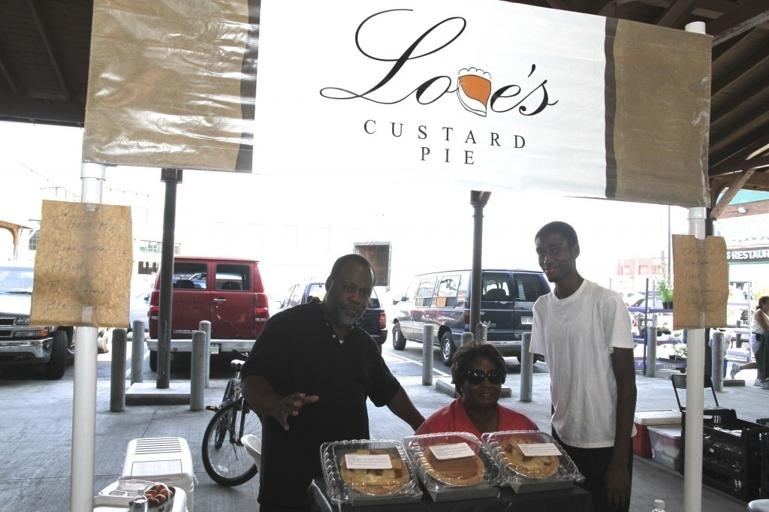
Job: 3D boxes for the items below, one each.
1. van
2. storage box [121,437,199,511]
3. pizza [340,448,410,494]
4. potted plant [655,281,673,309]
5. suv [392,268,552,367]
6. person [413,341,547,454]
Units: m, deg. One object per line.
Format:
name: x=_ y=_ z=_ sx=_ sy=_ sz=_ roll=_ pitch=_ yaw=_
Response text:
van: x=-4.170 y=1.043 z=13.754 sx=2.340 sy=2.362 sz=4.133 roll=3 pitch=1 yaw=-25
storage box: x=-1.786 y=1.948 z=4.991 sx=0.525 sy=0.623 sz=0.842 roll=3 pitch=-4 yaw=-17
pizza: x=-0.070 y=1.337 z=3.763 sx=0.480 sy=0.134 sz=0.568 roll=2 pitch=13 yaw=-1
potted plant: x=6.218 y=0.853 z=13.659 sx=0.213 sy=0.678 sz=0.999 roll=-2 pitch=-5 yaw=21
suv: x=1.904 y=1.265 z=15.006 sx=1.710 sy=1.507 sz=3.607 roll=2 pitch=1 yaw=-20
person: x=0.717 y=1.070 z=4.621 sx=0.966 sy=0.783 sz=0.520 roll=0 pitch=-8 yaw=-3
